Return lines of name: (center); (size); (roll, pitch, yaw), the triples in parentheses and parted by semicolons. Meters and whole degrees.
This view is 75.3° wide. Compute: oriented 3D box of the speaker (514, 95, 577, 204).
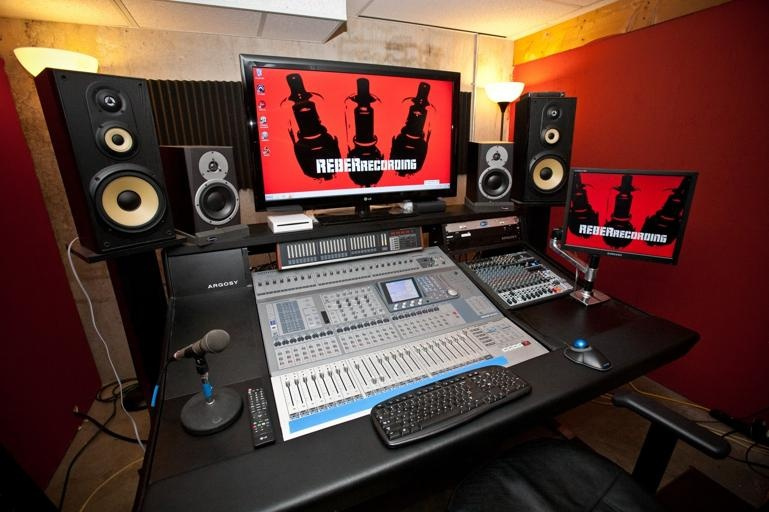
speaker: (1.113, -0.732, 3.436); (0.374, 0.754, 0.187); (-5, 15, -4)

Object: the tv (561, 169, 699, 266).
tv: (1.475, -0.243, 2.983); (0.594, 0.514, 0.061); (10, 22, 21)

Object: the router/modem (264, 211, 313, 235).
router/modem: (-0.583, -0.209, 3.118); (0.299, 0.081, 0.267); (-6, 15, -9)

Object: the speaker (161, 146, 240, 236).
speaker: (-1.066, -0.386, 2.915); (0.376, 0.495, 0.199); (-6, 15, -9)
